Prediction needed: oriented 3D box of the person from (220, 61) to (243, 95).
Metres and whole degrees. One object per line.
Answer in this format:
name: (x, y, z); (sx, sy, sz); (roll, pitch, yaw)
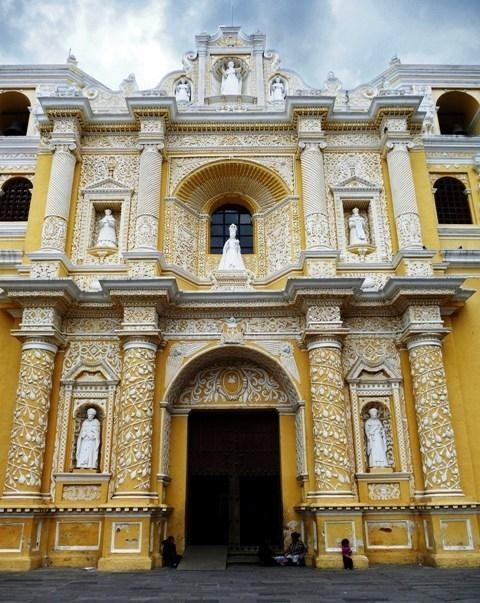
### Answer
person: (-0.223, -5.230, 13.062); (0.465, 1.231, 0.267); (-3, -22, 4)

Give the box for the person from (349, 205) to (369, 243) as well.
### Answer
person: (2.421, -1.544, 11.501); (0.391, 0.805, 0.267); (-6, -12, 11)

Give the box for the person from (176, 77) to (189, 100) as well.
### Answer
person: (-1.348, -4.928, 12.976); (0.368, 0.716, 0.229); (-1, -22, -2)

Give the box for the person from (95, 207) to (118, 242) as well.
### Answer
person: (-2.779, -1.537, 11.672); (0.438, 1.104, 0.466); (5, -23, -14)

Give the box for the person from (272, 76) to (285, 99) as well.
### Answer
person: (0.862, -4.930, 12.925); (0.321, 0.759, 0.174); (-2, -22, 1)

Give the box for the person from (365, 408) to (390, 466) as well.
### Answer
person: (2.391, 2.426, 9.847); (0.397, 1.030, 0.292); (-2, -22, 2)

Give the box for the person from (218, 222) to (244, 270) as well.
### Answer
person: (-0.196, -1.133, 11.796); (0.558, 1.313, 0.490); (-1, -22, -2)

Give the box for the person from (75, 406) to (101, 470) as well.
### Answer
person: (-2.696, 2.433, 9.845); (0.406, 1.066, 0.325); (-20, -29, 38)
